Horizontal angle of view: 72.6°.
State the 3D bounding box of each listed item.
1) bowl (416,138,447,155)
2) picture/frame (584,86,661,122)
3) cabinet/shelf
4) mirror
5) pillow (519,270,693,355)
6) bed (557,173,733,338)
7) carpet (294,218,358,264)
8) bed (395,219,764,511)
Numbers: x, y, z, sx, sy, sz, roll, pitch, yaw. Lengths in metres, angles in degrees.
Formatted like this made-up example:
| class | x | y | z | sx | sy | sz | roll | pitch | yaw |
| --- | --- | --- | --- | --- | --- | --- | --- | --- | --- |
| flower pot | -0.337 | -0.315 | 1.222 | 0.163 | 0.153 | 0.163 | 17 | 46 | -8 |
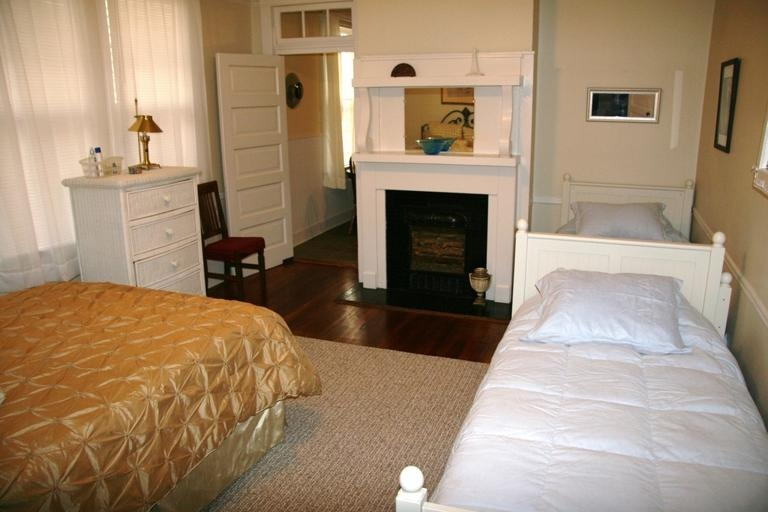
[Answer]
| class | x | y | z | sx | sy | sz | roll | pitch | yaw |
| --- | --- | --- | --- | --- | --- | --- | --- | --- | --- |
| bowl | 0.483 | -1.087 | 5.148 | 0.253 | 0.161 | 0.124 | -3 | 19 | -6 |
| picture/frame | 2.350 | -1.481 | 5.130 | 0.648 | 0.309 | 0.095 | 3 | 19 | 10 |
| cabinet/shelf | -2.098 | -0.212 | 4.281 | 0.560 | 1.150 | 0.860 | 7 | 18 | 21 |
| mirror | 0.577 | -1.361 | 5.160 | 0.659 | 0.602 | 0.221 | 2 | 9 | 13 |
| pillow | 1.358 | 0.327 | 3.254 | 0.902 | 0.332 | 0.482 | 4 | 19 | 13 |
| bed | 2.138 | -0.063 | 4.737 | 1.191 | 1.090 | 1.404 | 7 | 19 | 27 |
| carpet | -0.792 | -0.140 | 7.109 | 0.837 | 0.069 | 1.604 | -1 | 18 | -3 |
| bed | 1.196 | 0.617 | 3.071 | 1.045 | 1.163 | 1.901 | 7 | 26 | 22 |
